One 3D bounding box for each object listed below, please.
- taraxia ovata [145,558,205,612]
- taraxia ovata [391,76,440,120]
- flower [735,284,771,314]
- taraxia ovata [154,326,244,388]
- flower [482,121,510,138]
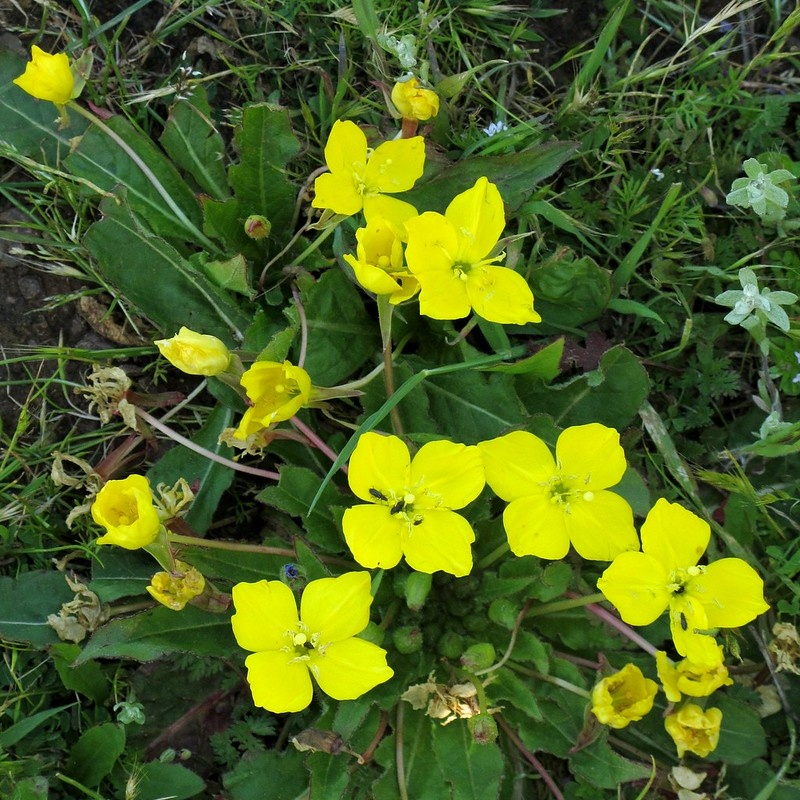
[{"bbox_3d":[-0.637,0.535,2.248,0.166,0.153,0.064,7,105,19],"label":"taraxia ovata"},{"bbox_3d":[0.043,-0.906,2.446,0.143,0.082,0.134,-25,92,4],"label":"taraxia ovata"},{"bbox_3d":[1.119,-0.309,2.486,0.106,0.075,0.093,15,79,1],"label":"flower"},{"bbox_3d":[-0.510,-0.095,2.115,0.105,0.244,0.119,-49,36,28],"label":"taraxia ovata"},{"bbox_3d":[0.349,-0.982,2.849,0.092,0.038,0.087,1,38,26],"label":"flower"}]
